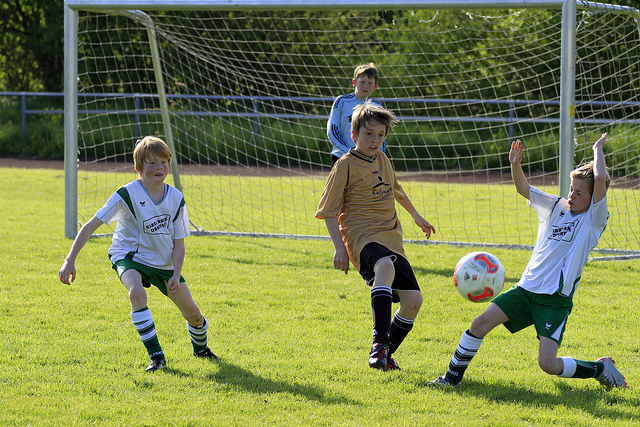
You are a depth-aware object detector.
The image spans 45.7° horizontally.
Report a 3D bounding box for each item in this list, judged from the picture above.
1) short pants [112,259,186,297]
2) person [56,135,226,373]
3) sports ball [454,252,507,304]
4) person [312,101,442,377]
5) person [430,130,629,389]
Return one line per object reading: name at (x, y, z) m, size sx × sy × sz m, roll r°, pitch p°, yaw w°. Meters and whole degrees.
short pants at (-1.625, 0.569, 7.456) m, size 0.395 × 0.517 × 0.838 m, roll -2°, pitch -6°, yaw -2°
person at (-1.630, 0.360, 7.306) m, size 1.345 × 2.173 × 0.542 m, roll -3°, pitch 6°, yaw -20°
sports ball at (1.578, 0.563, 7.281) m, size 0.453 × 0.466 × 0.462 m, roll -12°, pitch 10°, yaw 2°
person at (0.552, 0.196, 7.516) m, size 0.963 × 2.589 × 0.894 m, roll 2°, pitch 7°, yaw 24°
person at (2.113, 0.448, 7.145) m, size 1.545 × 2.371 × 0.577 m, roll 0°, pitch 6°, yaw 6°
